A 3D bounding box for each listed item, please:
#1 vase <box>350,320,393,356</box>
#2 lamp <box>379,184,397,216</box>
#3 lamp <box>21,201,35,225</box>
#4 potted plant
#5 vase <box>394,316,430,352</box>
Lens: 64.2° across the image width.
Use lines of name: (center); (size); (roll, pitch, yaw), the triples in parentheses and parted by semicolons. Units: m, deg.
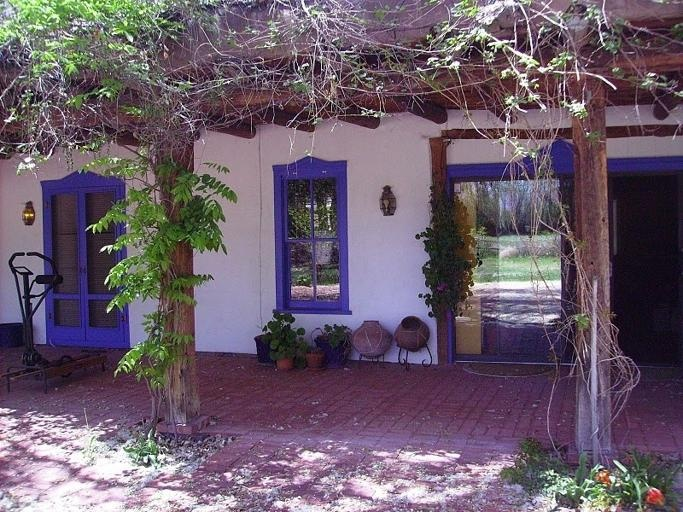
vase: (0.414, 1.153, 7.483); (0.576, 0.536, 0.603); (-4, -3, 21)
lamp: (0.643, -0.730, 7.373); (0.227, 0.416, 0.088); (-2, 5, 2)
lamp: (-5.235, -0.696, 9.066); (0.200, 0.401, 0.293); (-5, 5, -32)
potted plant: (-0.535, 1.154, 7.441); (1.065, 0.560, 0.725); (0, -4, 5)
vase: (0.956, 1.111, 7.310); (0.488, 0.378, 0.623); (-4, 12, 16)
